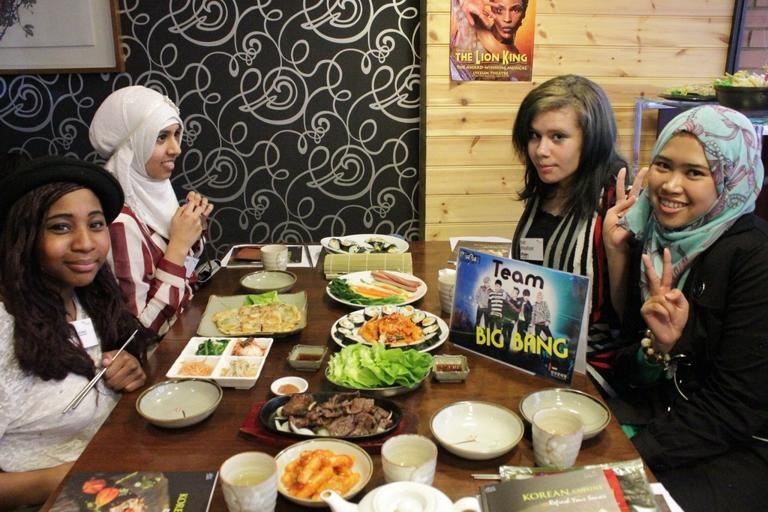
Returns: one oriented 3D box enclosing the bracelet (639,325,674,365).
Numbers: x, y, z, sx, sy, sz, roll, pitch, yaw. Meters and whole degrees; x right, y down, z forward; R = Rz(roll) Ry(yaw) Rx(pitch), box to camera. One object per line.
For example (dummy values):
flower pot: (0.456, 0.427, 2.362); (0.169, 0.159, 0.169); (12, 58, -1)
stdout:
bracelet: (1.110, 0.377, 1.999); (0.101, 0.057, 0.139); (44, -2, 23)

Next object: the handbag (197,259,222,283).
handbag: (-1.001, 0.084, 2.789); (0.087, 0.061, 0.257); (-2, 13, -7)

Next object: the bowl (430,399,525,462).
bowl: (0.302, 0.570, 1.622); (0.296, 0.074, 0.206); (-1, 19, -6)

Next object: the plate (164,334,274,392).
plate: (-0.648, 0.425, 1.963); (0.233, 0.054, 0.227); (2, 27, 2)

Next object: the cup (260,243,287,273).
cup: (-0.654, 0.016, 2.839); (0.148, 0.161, 0.154); (0, 6, 0)

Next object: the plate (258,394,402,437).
plate: (-0.188, 0.539, 1.691); (0.485, 0.079, 0.186); (2, 19, 3)

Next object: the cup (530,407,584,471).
cup: (0.528, 0.568, 1.566); (0.161, 0.154, 0.167); (-2, 11, 0)

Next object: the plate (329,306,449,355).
plate: (0.047, 0.300, 2.150); (0.267, 0.037, 0.264); (1, 14, 1)

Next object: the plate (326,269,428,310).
plate: (-0.049, 0.097, 2.585); (0.517, 0.162, 0.600); (-5, 13, -23)
